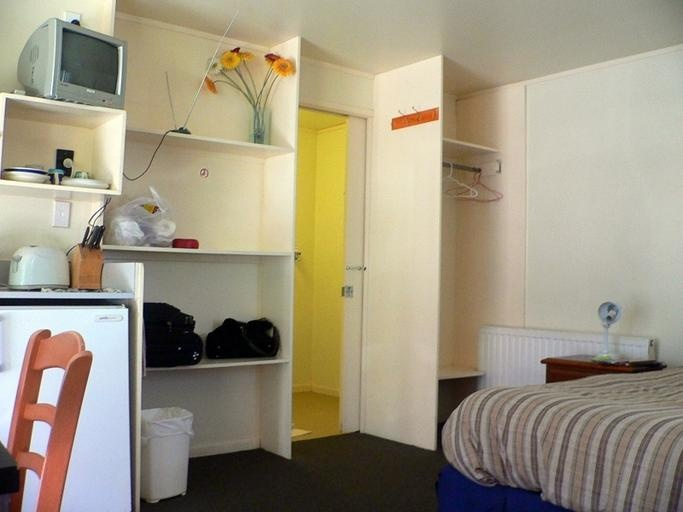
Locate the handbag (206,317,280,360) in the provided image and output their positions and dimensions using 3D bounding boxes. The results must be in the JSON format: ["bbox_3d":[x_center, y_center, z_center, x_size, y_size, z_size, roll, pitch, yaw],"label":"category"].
[{"bbox_3d":[-0.692,0.587,3.882,0.518,0.262,0.206,2,1,-15],"label":"handbag"}]

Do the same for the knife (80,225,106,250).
[{"bbox_3d":[-1.324,-0.092,2.923,0.122,0.135,0.035,17,0,19],"label":"knife"}]

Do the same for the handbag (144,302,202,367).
[{"bbox_3d":[-1.084,0.512,3.496,0.352,0.390,0.252,1,1,-26],"label":"handbag"}]

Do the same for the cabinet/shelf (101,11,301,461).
[{"bbox_3d":[-0.950,-0.071,3.951,1.330,2.970,0.733,4,-2,-37],"label":"cabinet/shelf"}]

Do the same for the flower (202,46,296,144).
[{"bbox_3d":[-0.600,-1.228,3.959,0.609,0.753,0.473,4,0,37],"label":"flower"}]

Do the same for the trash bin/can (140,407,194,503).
[{"bbox_3d":[-1.101,1.184,3.346,0.286,0.542,0.287,5,-3,-31],"label":"trash bin/can"}]
